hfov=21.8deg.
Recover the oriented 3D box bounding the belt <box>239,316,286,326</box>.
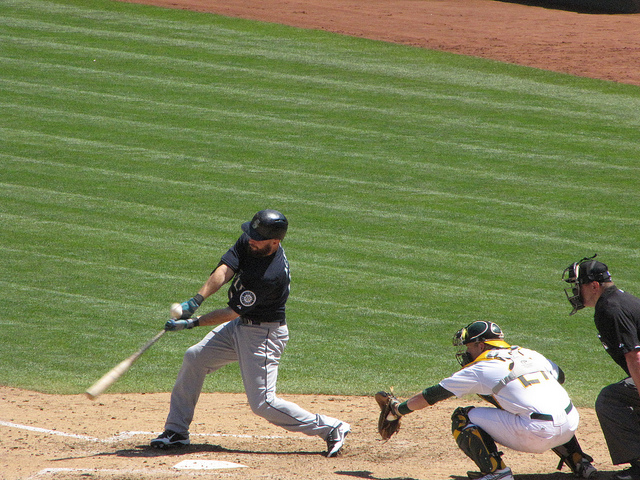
[{"bbox_3d":[-0.868,1.255,25.333,0.705,0.108,0.163,7,16,-4],"label":"belt"}]

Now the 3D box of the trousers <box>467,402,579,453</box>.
[{"bbox_3d":[3.111,2.805,25.255,1.690,0.513,1.533,-5,6,9],"label":"trousers"}]
